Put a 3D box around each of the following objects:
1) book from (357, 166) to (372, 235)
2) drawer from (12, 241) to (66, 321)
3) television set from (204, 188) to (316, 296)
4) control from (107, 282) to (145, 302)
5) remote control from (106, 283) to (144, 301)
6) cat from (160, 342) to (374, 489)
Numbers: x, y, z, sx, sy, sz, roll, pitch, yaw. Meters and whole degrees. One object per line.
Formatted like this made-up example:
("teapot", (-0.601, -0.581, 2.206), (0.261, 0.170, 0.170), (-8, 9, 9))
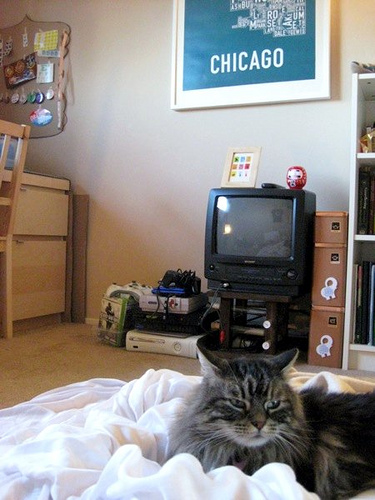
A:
("book", (0.850, -0.226, 1.978), (0.053, 0.269, 0.065), (4, 3, -17))
("drawer", (-0.969, 0.190, 2.638), (0.276, 0.530, 0.558), (-1, 0, 29))
("television set", (0.369, -0.043, 2.129), (0.515, 0.529, 0.284), (3, 2, 25))
("control", (-0.366, 0.235, 2.383), (0.154, 0.059, 0.104), (10, 2, 20))
("remote control", (-0.364, 0.232, 2.387), (0.156, 0.056, 0.102), (8, 2, 21))
("cat", (0.165, 0.286, 0.725), (0.382, 0.160, 0.258), (4, 4, -6))
